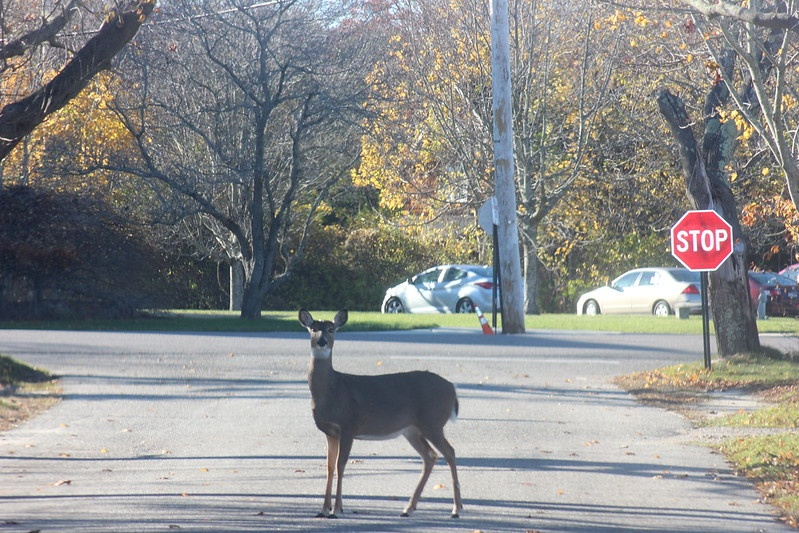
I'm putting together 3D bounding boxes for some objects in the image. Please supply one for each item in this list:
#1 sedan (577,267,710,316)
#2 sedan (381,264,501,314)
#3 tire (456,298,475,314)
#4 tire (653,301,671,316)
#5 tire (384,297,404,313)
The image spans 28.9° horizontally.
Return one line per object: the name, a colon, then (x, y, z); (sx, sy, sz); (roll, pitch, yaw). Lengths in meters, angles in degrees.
sedan: (7.922, 0.860, 50.562); (0.878, 1.671, 5.224); (2, -7, -32)
sedan: (1.742, 0.690, 52.081); (3.348, 1.358, 1.654); (1, 0, 43)
tire: (2.197, 1.246, 51.015); (0.438, 0.488, 0.152); (-3, -3, 30)
tire: (8.444, 1.303, 49.598); (0.146, 0.446, 0.411); (0, -2, -32)
tire: (-0.157, 1.300, 53.771); (0.479, 0.529, 0.164); (-2, 0, 42)
